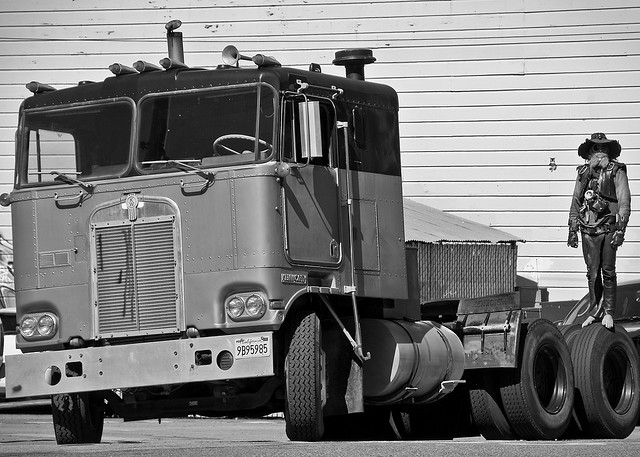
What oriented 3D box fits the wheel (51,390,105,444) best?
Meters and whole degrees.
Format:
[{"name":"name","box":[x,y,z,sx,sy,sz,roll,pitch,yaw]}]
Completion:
[{"name":"wheel","box":[-3.343,2.474,18.880,0.495,0.925,0.647,-3,-2,27]}]

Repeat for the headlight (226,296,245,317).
[{"name":"headlight","box":[-1.067,0.990,17.556,0.217,0.226,0.067,-6,-1,24]}]

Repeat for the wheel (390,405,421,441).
[{"name":"wheel","box":[1.249,2.827,20.248,0.268,0.503,0.296,-16,12,16]}]

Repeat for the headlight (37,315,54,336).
[{"name":"headlight","box":[-3.592,1.273,18.201,0.226,0.245,0.063,-1,-2,25]}]

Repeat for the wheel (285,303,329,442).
[{"name":"wheel","box":[-0.335,1.945,18.303,0.710,1.988,1.734,2,1,-2]}]

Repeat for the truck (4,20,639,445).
[{"name":"truck","box":[0.769,0.722,20.179,5.032,4.893,8.844,-6,-9,39]}]

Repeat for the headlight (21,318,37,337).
[{"name":"headlight","box":[-3.835,1.298,18.248,0.190,0.234,0.055,5,-3,21]}]
